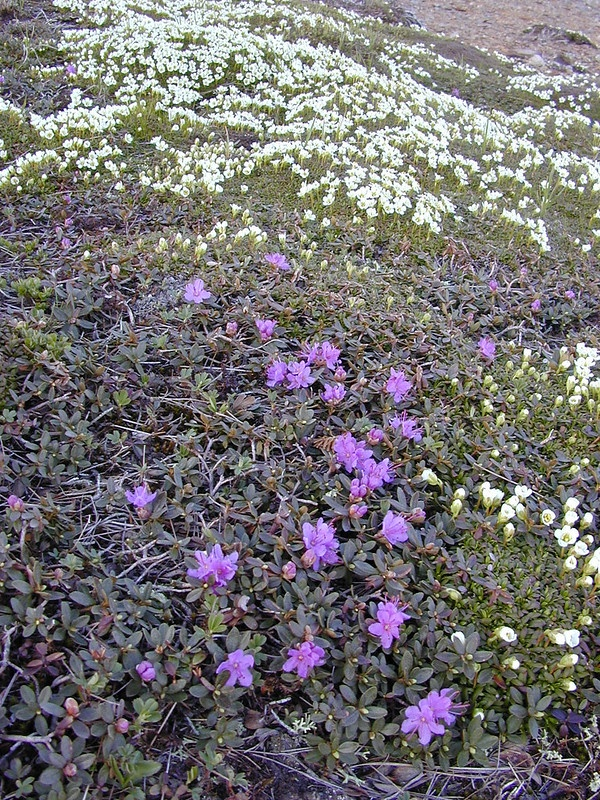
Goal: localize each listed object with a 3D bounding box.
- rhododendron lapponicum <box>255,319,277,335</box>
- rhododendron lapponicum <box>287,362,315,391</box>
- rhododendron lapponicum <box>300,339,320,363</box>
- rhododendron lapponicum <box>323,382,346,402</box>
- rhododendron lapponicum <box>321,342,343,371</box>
[{"bbox_3d":[-0.178,-0.395,3.547,0.095,0.062,0.091,2,10,16],"label":"rhododendron lapponicum"},{"bbox_3d":[-0.001,-0.121,3.285,0.142,0.119,0.061,22,3,3],"label":"rhododendron lapponicum"},{"bbox_3d":[0.040,-0.252,3.415,0.067,0.108,0.116,42,25,13],"label":"rhododendron lapponicum"},{"bbox_3d":[0.165,-0.040,3.263,0.096,0.076,0.105,21,33,11],"label":"rhododendron lapponicum"},{"bbox_3d":[0.171,-0.224,3.420,0.080,0.127,0.138,-4,-31,40],"label":"rhododendron lapponicum"}]
